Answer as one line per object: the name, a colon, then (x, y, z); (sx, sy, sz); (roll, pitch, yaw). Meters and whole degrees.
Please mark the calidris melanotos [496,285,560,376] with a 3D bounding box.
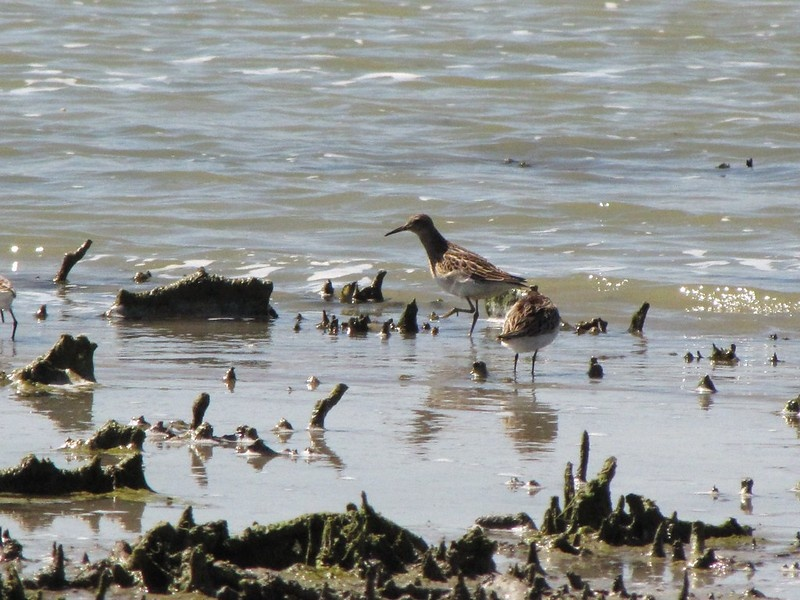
calidris melanotos: (1.373, 0.310, 16.437); (0.679, 0.882, 1.290); (1, 2, 29)
